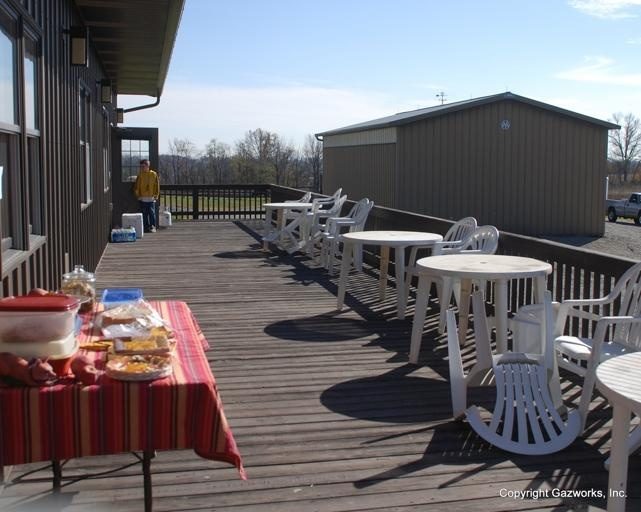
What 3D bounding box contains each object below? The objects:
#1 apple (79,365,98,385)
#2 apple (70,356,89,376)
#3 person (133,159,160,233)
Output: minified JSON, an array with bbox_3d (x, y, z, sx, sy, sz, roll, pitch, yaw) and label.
[{"bbox_3d":[-0.771,0.397,1.646,0.049,0.059,0.044,12,13,42],"label":"apple"},{"bbox_3d":[-0.806,0.369,1.658,0.044,0.055,0.046,-17,12,4],"label":"apple"},{"bbox_3d":[-4.390,-1.453,12.467,0.545,1.861,0.851,-1,10,-21],"label":"person"}]
